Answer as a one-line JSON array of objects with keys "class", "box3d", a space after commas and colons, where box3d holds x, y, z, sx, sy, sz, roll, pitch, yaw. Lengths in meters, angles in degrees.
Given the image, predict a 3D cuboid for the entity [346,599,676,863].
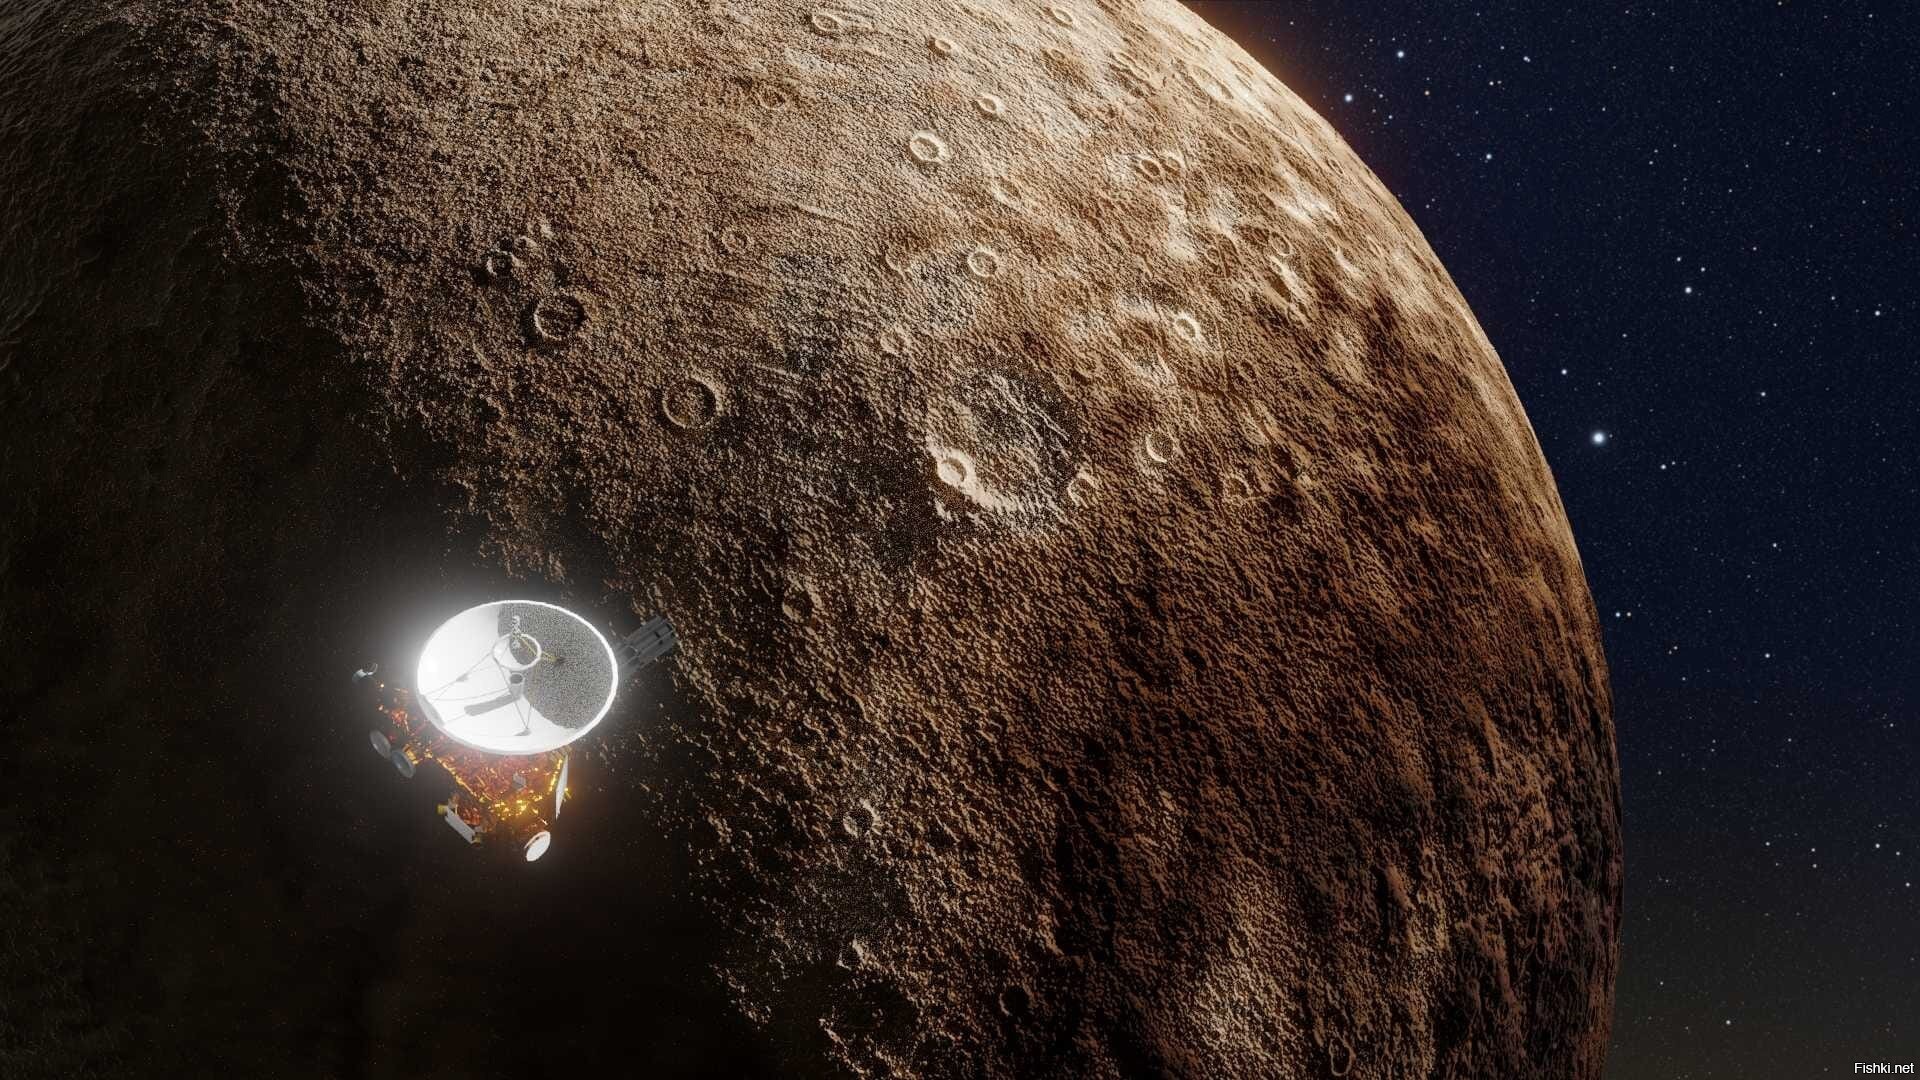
[{"class": "entity", "box3d": [-2.207, 0.924, 9.903, 1.010, 1.030, 1.272, 11, 6, 9]}]
